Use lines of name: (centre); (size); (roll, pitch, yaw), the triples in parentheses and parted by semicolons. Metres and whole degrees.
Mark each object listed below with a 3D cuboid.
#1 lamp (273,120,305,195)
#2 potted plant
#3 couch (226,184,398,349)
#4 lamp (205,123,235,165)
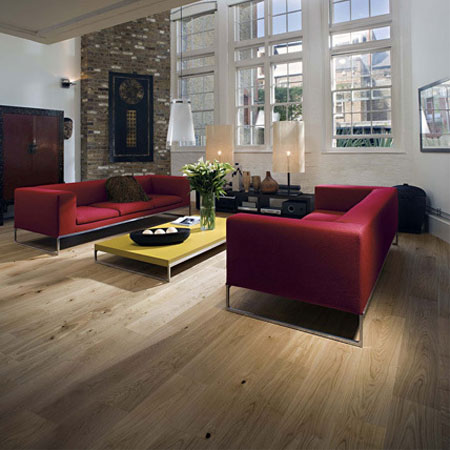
lamp: (1.110, -1.257, 6.193); (0.533, 1.578, 0.505); (10, 48, 21)
potted plant: (-0.206, -0.401, 4.469); (0.658, 0.958, 0.750); (2, 6, 23)
couch: (1.113, 0.061, 3.545); (1.036, 0.825, 3.001); (6, 13, 30)
lamp: (-0.076, -1.472, 6.638); (0.539, 1.058, 0.634); (-1, 5, -13)
